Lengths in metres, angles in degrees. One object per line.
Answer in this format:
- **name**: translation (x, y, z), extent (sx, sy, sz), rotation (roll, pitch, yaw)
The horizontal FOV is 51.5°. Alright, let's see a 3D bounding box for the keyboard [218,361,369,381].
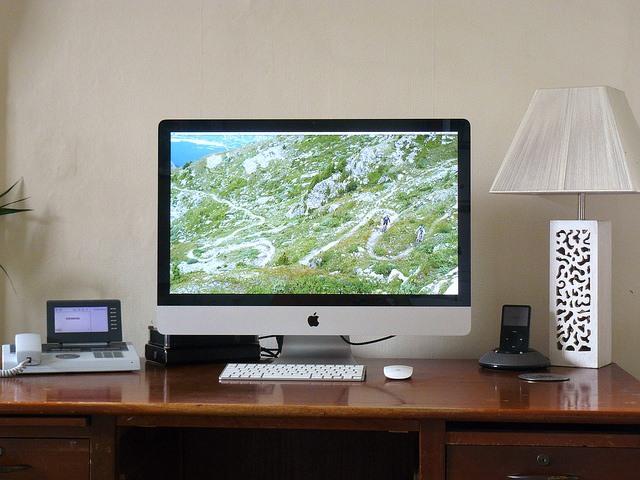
- **keyboard**: translation (-0.078, 0.414, 2.118), extent (0.441, 0.041, 0.236), rotation (-1, -4, 5)

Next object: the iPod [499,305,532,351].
- **iPod**: translation (0.655, 0.294, 2.234), extent (0.098, 0.143, 0.146), rotation (-2, -4, 19)

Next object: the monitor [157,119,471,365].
- **monitor**: translation (-0.019, 0.018, 2.191), extent (1.097, 0.842, 0.285), rotation (0, 12, -13)

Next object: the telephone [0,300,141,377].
- **telephone**: translation (-0.792, 0.328, 2.164), extent (0.373, 0.188, 0.248), rotation (0, -8, -15)
